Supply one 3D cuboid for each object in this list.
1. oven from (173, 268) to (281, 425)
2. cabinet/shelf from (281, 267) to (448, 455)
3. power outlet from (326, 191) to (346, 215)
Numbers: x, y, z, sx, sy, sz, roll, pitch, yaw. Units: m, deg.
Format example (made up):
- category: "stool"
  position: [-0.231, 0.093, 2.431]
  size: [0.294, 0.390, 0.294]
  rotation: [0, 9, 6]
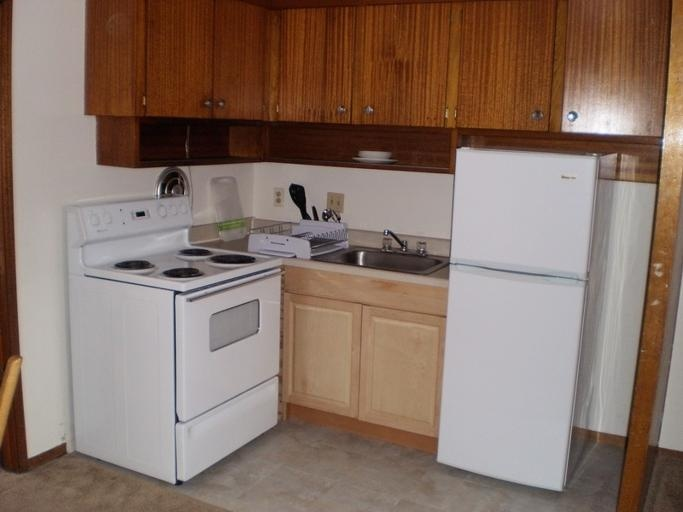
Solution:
- category: "oven"
  position: [-0.463, 0.498, 3.156]
  size: [0.754, 0.582, 0.495]
  rotation: [-18, -27, 34]
- category: "cabinet/shelf"
  position: [0.163, 0.601, 3.297]
  size: [0.917, 0.906, 0.482]
  rotation: [4, 9, 22]
- category: "power outlet"
  position: [-0.037, -0.366, 3.907]
  size: [0.145, 0.167, 0.021]
  rotation: [9, 16, 27]
